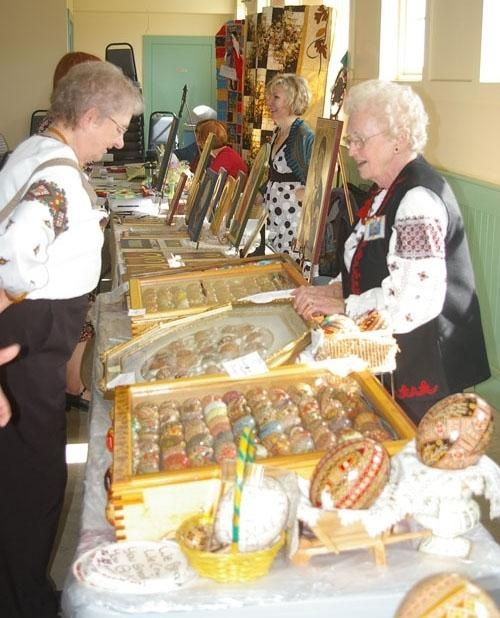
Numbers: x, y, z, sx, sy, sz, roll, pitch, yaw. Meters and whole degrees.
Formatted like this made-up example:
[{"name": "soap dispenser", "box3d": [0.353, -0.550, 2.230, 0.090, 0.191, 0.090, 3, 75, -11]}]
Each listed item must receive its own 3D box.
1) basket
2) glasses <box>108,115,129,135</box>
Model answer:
[{"name": "basket", "box3d": [-0.020, 0.269, 0.681, 0.140, 0.188, 0.145, 1, -6, -3]}, {"name": "glasses", "box3d": [-0.440, -0.617, 1.610, 0.023, 0.072, 0.072, -5, 16, 38]}]
